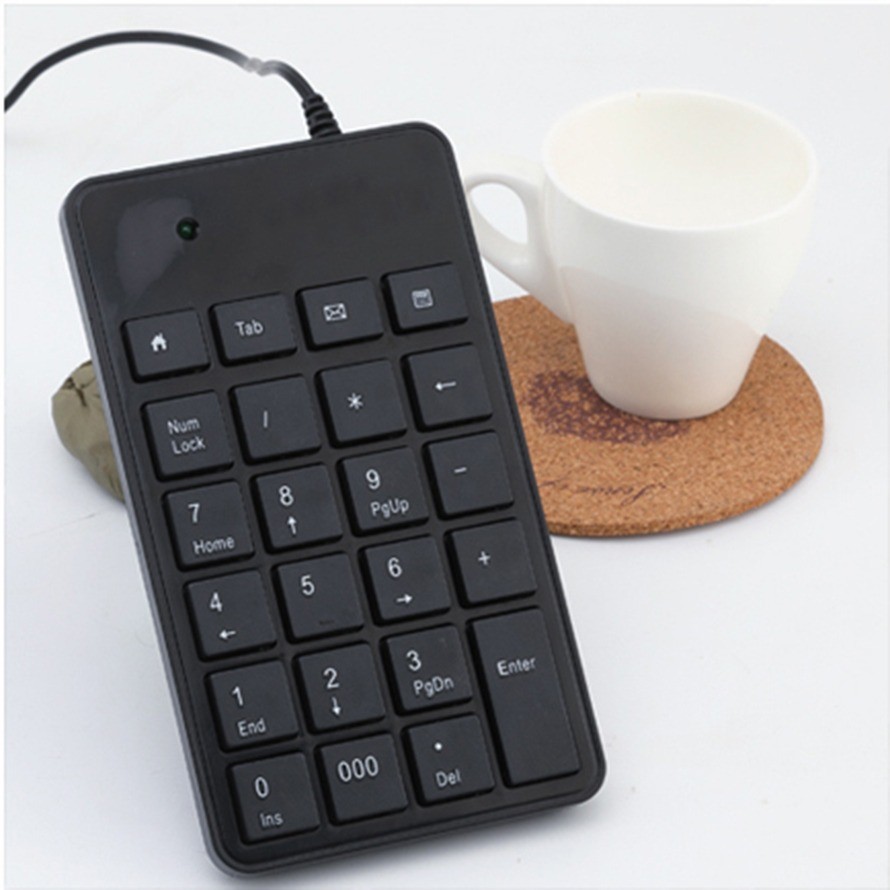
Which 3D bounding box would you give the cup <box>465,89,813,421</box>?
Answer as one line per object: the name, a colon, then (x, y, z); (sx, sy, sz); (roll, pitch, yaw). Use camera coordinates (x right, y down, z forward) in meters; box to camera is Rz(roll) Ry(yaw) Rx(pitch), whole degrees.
cup: (0.079, -0.076, 0.443); (0.160, 0.113, 0.123); (9, 43, 12)
